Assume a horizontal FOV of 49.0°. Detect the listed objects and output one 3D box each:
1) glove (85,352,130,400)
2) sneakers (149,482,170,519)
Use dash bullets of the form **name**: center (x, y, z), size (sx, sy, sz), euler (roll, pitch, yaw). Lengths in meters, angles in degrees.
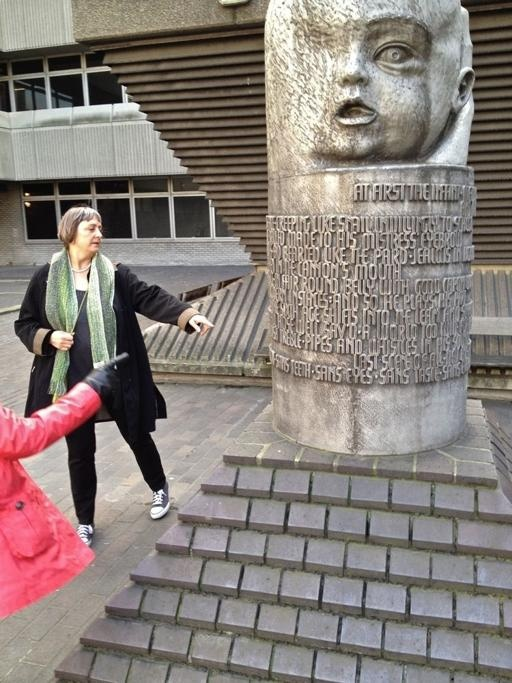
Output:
- **glove**: center (-0.620, 0.135, 2.326), size (0.098, 0.069, 0.275), euler (5, 8, -4)
- **sneakers**: center (-0.601, 1.006, 3.583), size (0.095, 0.095, 0.256), euler (-9, 1, 3)
